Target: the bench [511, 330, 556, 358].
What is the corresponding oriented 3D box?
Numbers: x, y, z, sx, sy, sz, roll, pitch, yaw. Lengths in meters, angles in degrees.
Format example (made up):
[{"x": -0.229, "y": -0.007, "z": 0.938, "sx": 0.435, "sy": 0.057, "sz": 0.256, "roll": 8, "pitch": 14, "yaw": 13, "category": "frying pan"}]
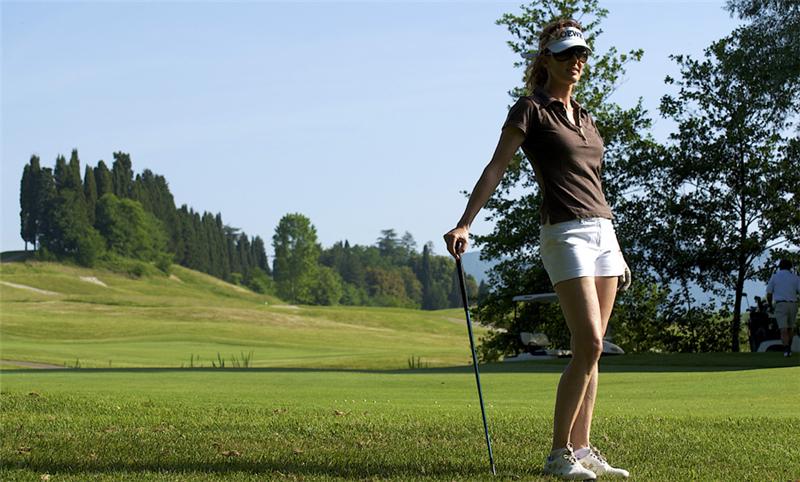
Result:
[{"x": 7.508, "y": 5.749, "z": 52.198, "sx": 1.301, "sy": 1.160, "sz": 2.266, "roll": 3, "pitch": -10, "yaw": -31, "category": "bench"}]
